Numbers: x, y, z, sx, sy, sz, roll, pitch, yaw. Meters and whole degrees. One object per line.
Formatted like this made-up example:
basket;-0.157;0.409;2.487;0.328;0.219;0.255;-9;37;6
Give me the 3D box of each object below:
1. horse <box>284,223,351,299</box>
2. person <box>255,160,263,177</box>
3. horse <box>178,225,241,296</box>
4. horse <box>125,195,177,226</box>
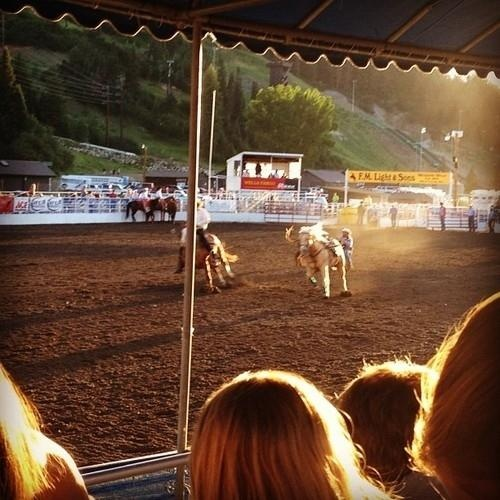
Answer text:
horse;1.513;0.278;10.264;0.610;1.418;2.280;-7;-7;30
person;0.825;-8.565;52.856;0.489;1.669;1.265;-1;0;22
horse;-1.054;0.012;10.882;0.705;1.535;2.476;-2;10;19
horse;-6.442;-2.629;32.465;3.119;1.658;1.476;-1;0;-14
